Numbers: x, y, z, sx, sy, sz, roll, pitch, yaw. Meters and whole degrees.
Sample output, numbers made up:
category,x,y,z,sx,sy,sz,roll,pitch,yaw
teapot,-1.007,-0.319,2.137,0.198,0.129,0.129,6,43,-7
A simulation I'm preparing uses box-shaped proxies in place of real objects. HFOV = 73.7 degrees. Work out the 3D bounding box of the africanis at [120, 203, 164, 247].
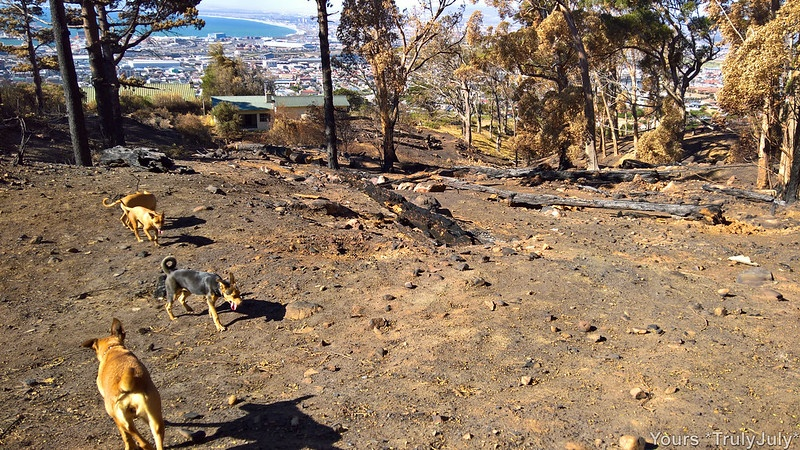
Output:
category,x,y,z,sx,sy,sz,roll,pitch,yaw
africanis,-8.737,-0.019,18.327,1.540,1.295,0.560,9,20,26

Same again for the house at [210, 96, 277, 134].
category,x,y,z,sx,sy,sz,roll,pitch,yaw
house,-15.177,-11.412,53.781,4.829,3.142,8.152,-5,17,-17
